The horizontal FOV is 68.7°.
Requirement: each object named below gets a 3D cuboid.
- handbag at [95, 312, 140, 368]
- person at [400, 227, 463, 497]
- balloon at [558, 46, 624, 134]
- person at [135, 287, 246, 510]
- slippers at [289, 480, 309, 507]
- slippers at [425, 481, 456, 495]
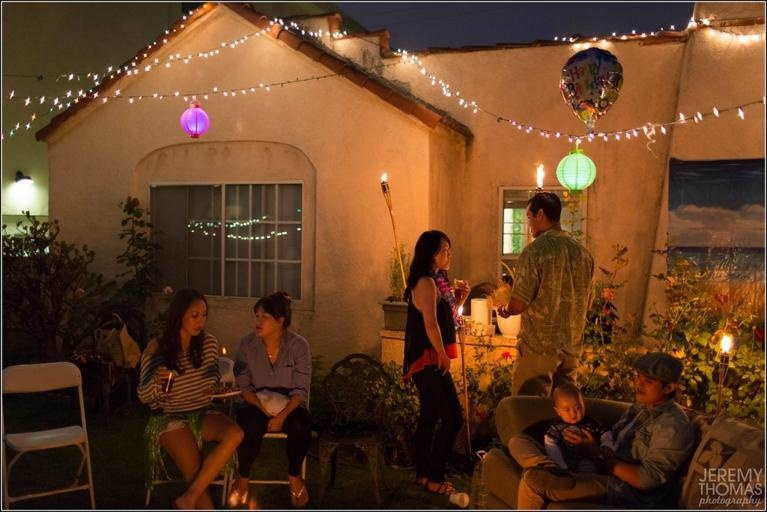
[{"bbox_3d":[-3.777,1.231,7.957,0.727,0.731,0.409,6,1,13],"label":"handbag"},{"bbox_3d":[0.525,1.134,5.994,0.596,2.771,0.473,1,2,0],"label":"person"},{"bbox_3d":[2.538,-2.088,6.852,0.682,0.790,0.375,1,2,18],"label":"balloon"},{"bbox_3d":[-1.921,1.350,5.555,0.730,2.001,0.951,-1,3,-43],"label":"person"},{"bbox_3d":[-0.854,2.402,5.711,0.177,0.342,0.203,0,2,-9],"label":"slippers"},{"bbox_3d":[0.610,2.465,5.976,0.329,0.119,0.119,-1,-5,2],"label":"slippers"}]
